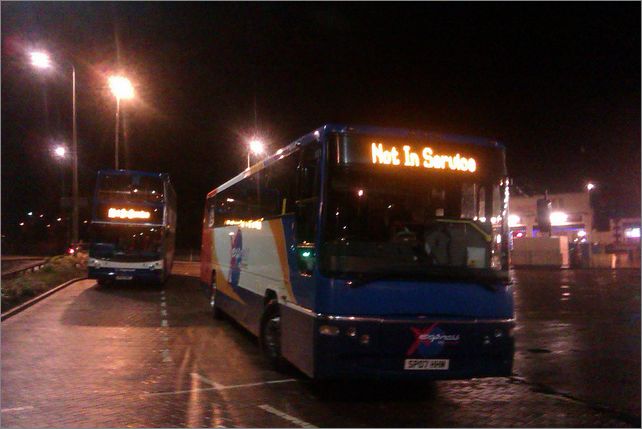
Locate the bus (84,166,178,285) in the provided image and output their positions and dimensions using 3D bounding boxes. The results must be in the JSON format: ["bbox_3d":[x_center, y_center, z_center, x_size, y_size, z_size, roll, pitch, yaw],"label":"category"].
[{"bbox_3d":[-8.779,0.610,23.251,3.302,5.110,1.157,0,1,-21],"label":"bus"}]
